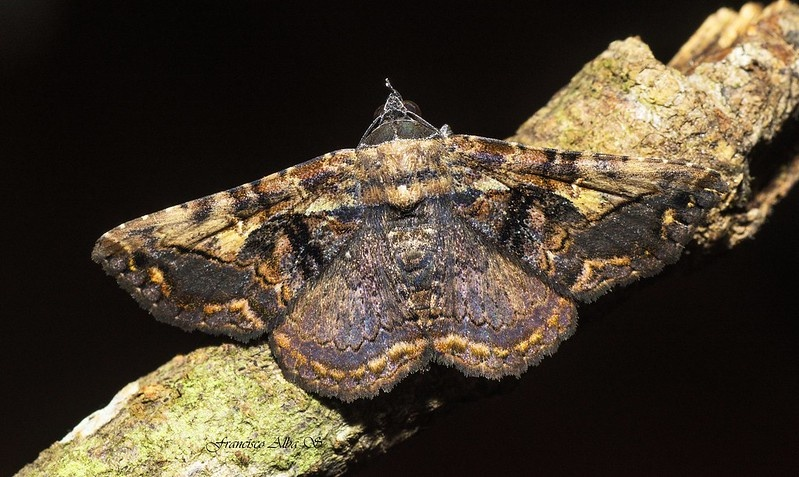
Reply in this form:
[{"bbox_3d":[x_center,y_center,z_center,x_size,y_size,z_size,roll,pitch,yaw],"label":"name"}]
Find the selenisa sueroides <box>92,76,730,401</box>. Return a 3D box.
[{"bbox_3d":[0.122,0.138,6.619,4.194,2.092,0.462,-2,8,1],"label":"selenisa sueroides"}]
